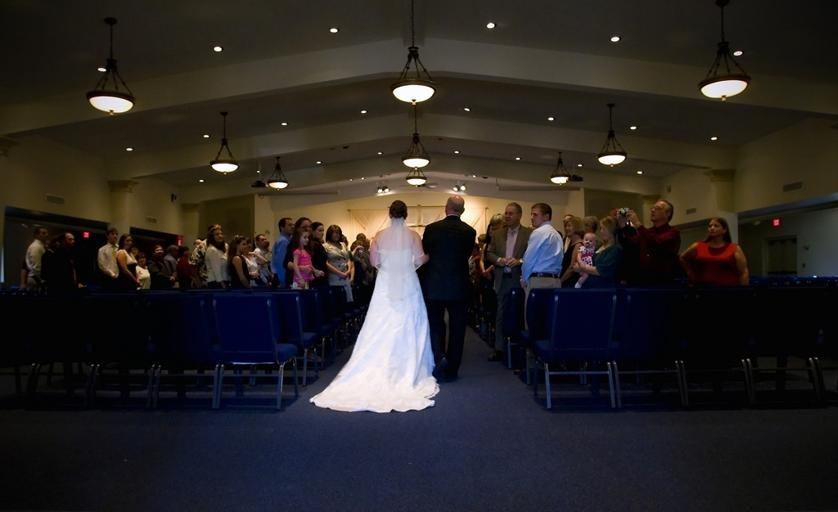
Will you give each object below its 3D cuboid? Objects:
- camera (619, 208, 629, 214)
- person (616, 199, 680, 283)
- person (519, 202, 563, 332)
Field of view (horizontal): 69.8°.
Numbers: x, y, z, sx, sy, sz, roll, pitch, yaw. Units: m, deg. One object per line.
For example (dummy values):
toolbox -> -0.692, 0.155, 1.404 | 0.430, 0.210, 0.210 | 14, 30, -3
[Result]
camera -> 2.712, -0.601, 7.927 | 0.135, 0.067, 0.186 | 2, 6, 10
person -> 3.073, -0.053, 8.127 | 0.855, 1.505, 0.762 | 7, -1, 17
person -> 1.746, 0.324, 8.726 | 0.625, 2.090, 0.644 | 3, 1, -30
